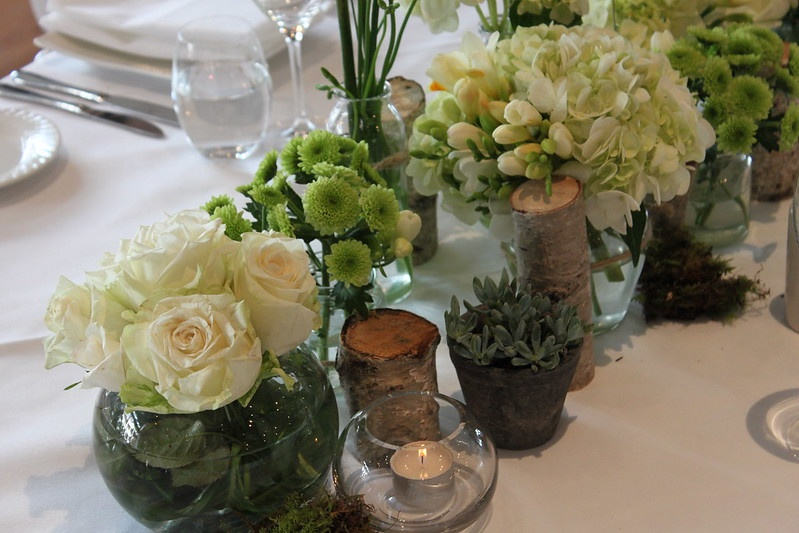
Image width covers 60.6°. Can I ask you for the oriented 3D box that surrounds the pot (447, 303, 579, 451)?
[{"bbox_3d":[0.152,0.154,0.934,0.178,0.150,0.180,-2,19,1],"label":"pot"}]

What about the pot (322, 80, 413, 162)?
[{"bbox_3d":[-0.048,-0.209,1.003,0.107,0.129,0.122,-7,28,-7],"label":"pot"}]

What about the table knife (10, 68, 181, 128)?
[{"bbox_3d":[-0.591,-0.332,1.352,0.390,0.055,0.024,21,1,10],"label":"table knife"}]

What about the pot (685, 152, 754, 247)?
[{"bbox_3d":[0.544,-0.104,1.153,0.094,0.165,0.098,8,-8,1],"label":"pot"}]
